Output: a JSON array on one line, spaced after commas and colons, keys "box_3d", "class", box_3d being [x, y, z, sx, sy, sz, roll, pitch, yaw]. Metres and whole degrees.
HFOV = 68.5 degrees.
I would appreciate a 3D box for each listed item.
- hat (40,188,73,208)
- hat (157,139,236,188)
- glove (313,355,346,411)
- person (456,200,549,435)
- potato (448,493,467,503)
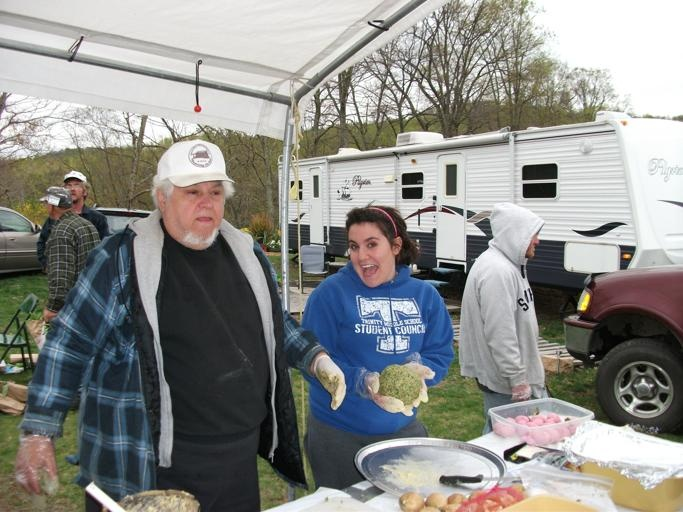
[{"box_3d": [-3.579, -0.714, 6.302, 0.342, 0.181, 0.248, 14, 16, 14], "class": "hat"}, {"box_3d": [-0.799, -0.485, 2.731, 0.283, 0.196, 0.370, -2, 1, -35], "class": "hat"}, {"box_3d": [-0.056, 0.680, 2.826, 0.075, 0.190, 0.287, -1, 30, -27], "class": "glove"}, {"box_3d": [1.265, 0.415, 3.982, 0.699, 1.665, 0.564, 1, 3, 22], "class": "person"}, {"box_3d": [0.484, 1.016, 2.121, 0.048, 0.029, 0.039, -4, 0, -19], "class": "potato"}]
